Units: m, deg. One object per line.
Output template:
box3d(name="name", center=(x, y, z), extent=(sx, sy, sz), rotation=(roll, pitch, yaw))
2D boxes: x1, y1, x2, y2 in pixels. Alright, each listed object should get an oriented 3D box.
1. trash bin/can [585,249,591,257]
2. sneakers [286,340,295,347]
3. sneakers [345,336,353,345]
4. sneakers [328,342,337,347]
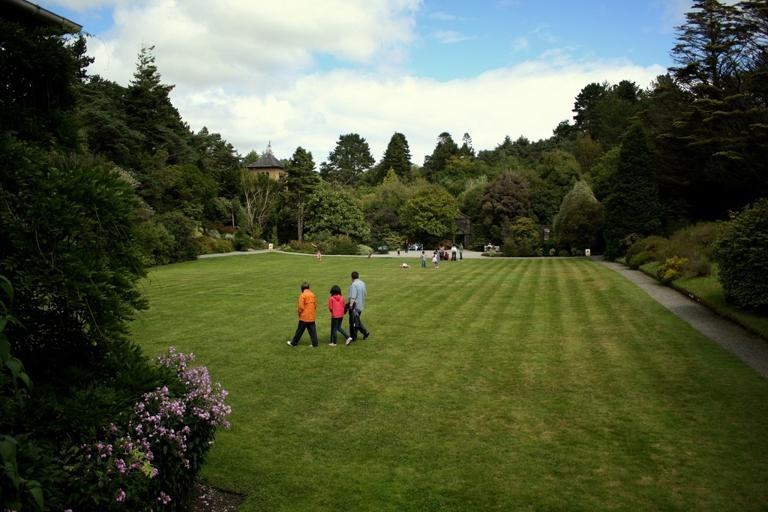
box3d(name="trash bin/can", center=(19.382, -0.305, 50.313), extent=(0.530, 0.920, 0.533), rotation=(3, -16, 10))
box3d(name="sneakers", center=(-2.790, 2.594, 15.663), extent=(0.177, 0.069, 0.176), rotation=(3, 13, 36))
box3d(name="sneakers", center=(-1.064, 2.551, 15.857), extent=(0.123, 0.135, 0.321), rotation=(5, -26, -30))
box3d(name="sneakers", center=(-1.545, 2.636, 15.788), extent=(0.112, 0.088, 0.201), rotation=(-1, -1, -30))
